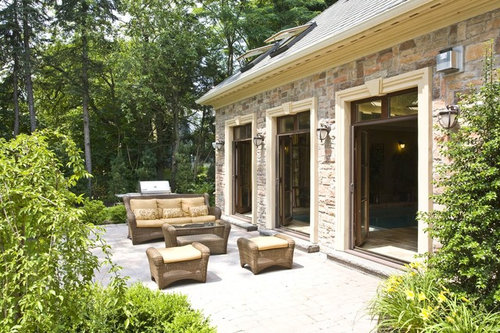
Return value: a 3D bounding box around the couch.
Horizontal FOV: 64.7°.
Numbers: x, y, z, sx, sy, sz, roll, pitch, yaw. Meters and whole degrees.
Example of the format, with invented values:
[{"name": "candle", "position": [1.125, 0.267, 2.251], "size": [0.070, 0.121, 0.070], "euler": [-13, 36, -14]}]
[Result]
[{"name": "couch", "position": [-2.018, 1.337, 10.412], "size": [2.440, 1.057, 0.998], "euler": [-1, 6, -30]}]
